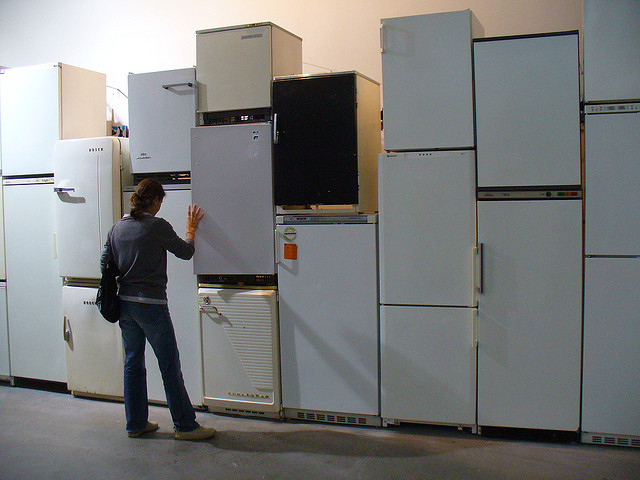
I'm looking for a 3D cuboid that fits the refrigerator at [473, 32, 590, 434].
[{"bbox_3d":[1.420,-0.028,4.110,0.776,2.662,0.609,2,13,15],"label":"refrigerator"}]

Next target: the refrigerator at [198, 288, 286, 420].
[{"bbox_3d":[-0.580,0.790,4.849,0.659,1.064,0.743,-1,9,6],"label":"refrigerator"}]

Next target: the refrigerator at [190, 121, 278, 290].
[{"bbox_3d":[-0.657,-0.299,4.465,0.639,1.086,0.337,-3,13,-4],"label":"refrigerator"}]

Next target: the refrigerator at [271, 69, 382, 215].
[{"bbox_3d":[0.109,-0.688,4.635,0.743,1.076,0.824,-4,0,8],"label":"refrigerator"}]

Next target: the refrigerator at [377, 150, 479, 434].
[{"bbox_3d":[0.797,0.282,4.538,0.793,2.216,0.851,-3,14,-8],"label":"refrigerator"}]

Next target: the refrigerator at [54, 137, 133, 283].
[{"bbox_3d":[-1.929,-0.322,5.017,0.554,1.058,0.571,-3,16,-19],"label":"refrigerator"}]

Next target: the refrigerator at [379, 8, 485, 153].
[{"bbox_3d":[0.805,-1.071,4.537,0.800,1.363,0.879,-1,0,22],"label":"refrigerator"}]

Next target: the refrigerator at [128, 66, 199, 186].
[{"bbox_3d":[-1.289,-0.974,4.882,0.579,1.000,0.576,-9,28,-23],"label":"refrigerator"}]

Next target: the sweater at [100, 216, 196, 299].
[{"bbox_3d":[-1.269,0.155,4.280,0.698,0.661,0.347,0,-2,0],"label":"sweater"}]

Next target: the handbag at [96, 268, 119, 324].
[{"bbox_3d":[-1.516,0.402,4.256,0.178,0.545,0.380,-1,-6,-16],"label":"handbag"}]

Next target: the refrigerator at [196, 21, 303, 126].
[{"bbox_3d":[-0.548,-1.274,4.797,0.825,0.748,0.865,1,6,40],"label":"refrigerator"}]

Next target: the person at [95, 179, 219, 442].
[{"bbox_3d":[-1.215,0.521,4.242,0.689,1.827,0.400,-2,13,-3],"label":"person"}]
